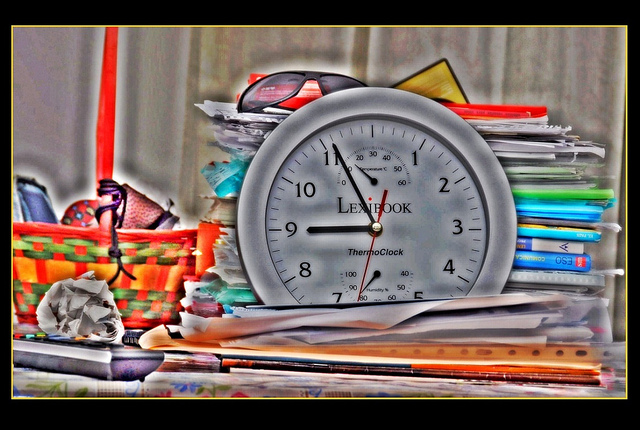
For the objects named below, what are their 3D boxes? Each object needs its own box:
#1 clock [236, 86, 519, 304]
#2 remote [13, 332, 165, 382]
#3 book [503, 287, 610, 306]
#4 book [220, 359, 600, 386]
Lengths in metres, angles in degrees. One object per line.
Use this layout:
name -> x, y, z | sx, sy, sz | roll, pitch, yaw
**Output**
clock -> 0.168, -0.042, 2.903 | 0.890, 0.679, 0.090 | -4, -6, -3
remote -> -0.802, 0.493, 2.937 | 0.518, 0.159, 0.028 | 1, -12, 1
book -> 0.827, 0.282, 2.954 | 0.405, 0.057, 0.038 | 2, -12, -9
book -> 0.317, 0.546, 2.940 | 1.316, 0.074, 0.052 | 2, -12, -4
